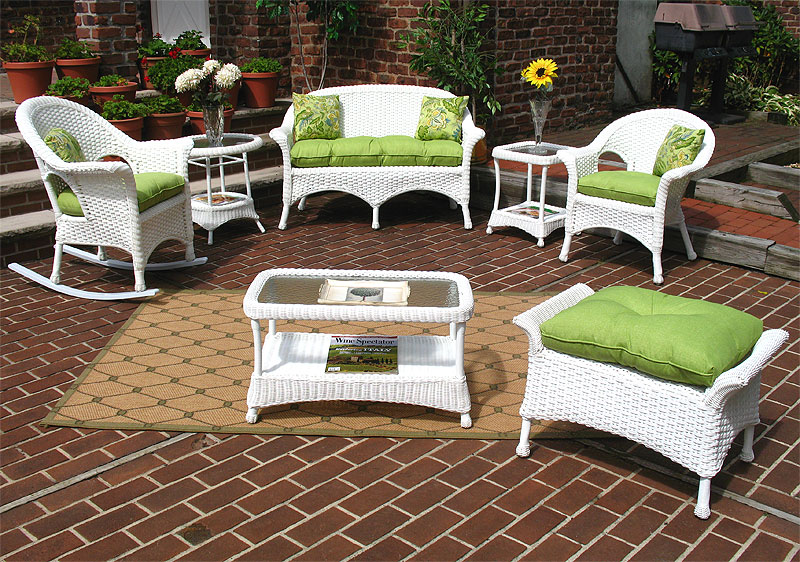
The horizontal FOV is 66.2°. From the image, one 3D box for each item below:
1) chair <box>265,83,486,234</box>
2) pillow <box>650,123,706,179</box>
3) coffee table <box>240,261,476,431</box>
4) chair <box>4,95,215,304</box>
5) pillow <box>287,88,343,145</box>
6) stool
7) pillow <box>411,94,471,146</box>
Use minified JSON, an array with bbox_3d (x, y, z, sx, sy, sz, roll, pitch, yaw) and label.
[{"bbox_3d":[-0.177,-1.246,6.112,1.962,1.344,1.202,1,25,4],"label":"chair"},{"bbox_3d":[2.139,-1.021,4.824,0.444,0.386,0.411,-6,24,-24],"label":"pillow"},{"bbox_3d":[-0.207,0.352,3.374,1.209,0.737,0.643,0,25,2],"label":"coffee table"},{"bbox_3d":[-2.363,-0.705,5.055,2.220,1.486,1.681,6,17,-7],"label":"chair"},{"bbox_3d":[-0.822,-1.627,6.104,0.908,0.471,0.512,-1,26,-5],"label":"pillow"},{"bbox_3d":[1.108,0.554,2.942,1.053,0.794,0.614,15,30,32],"label":"stool"},{"bbox_3d":[0.423,-1.598,6.037,0.753,0.411,0.178,5,-6,14],"label":"pillow"}]
